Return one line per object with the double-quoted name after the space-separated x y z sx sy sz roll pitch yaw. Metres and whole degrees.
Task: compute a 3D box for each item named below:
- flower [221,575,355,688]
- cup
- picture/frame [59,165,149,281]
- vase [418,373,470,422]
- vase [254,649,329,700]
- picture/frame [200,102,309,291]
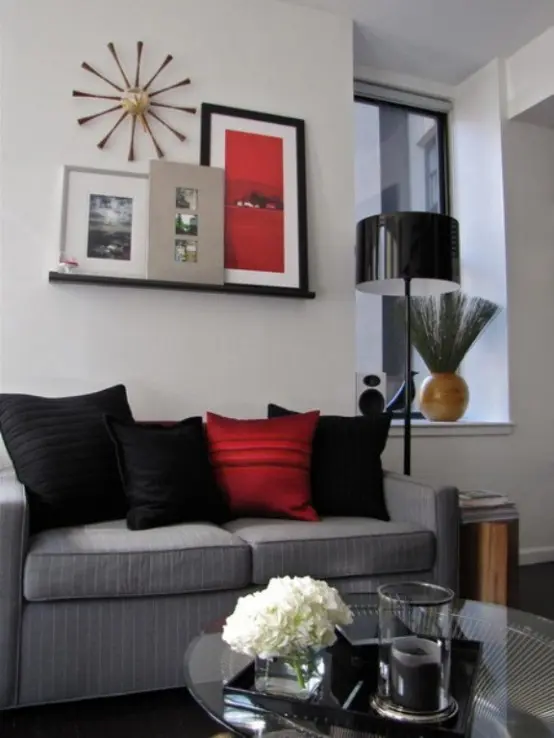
0.043 0.433 1.052 0.155 0.173 0.165 -5 -19 -8 "flower"
0.217 0.401 1.064 0.137 0.233 0.160 0 -2 23 "cup"
-0.745 -0.598 2.762 0.370 0.633 0.042 4 -10 -26 "picture/frame"
0.880 0.180 3.520 0.216 0.262 0.228 6 -12 -36 "vase"
0.025 0.465 1.040 0.068 0.087 0.080 1 -12 -6 "vase"
-0.126 -0.765 3.029 0.665 1.283 0.044 4 -11 -32 "picture/frame"
